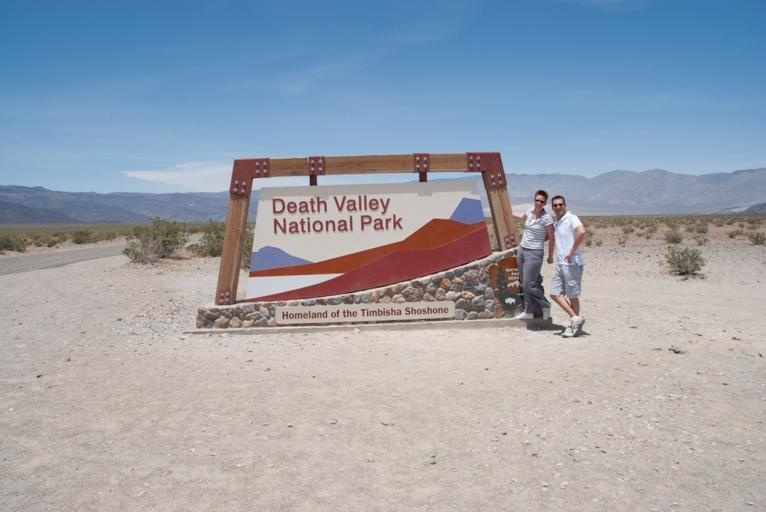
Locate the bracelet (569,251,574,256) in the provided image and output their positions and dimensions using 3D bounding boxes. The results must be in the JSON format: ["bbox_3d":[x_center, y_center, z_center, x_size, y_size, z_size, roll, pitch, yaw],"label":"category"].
[{"bbox_3d":[3.581,-0.040,9.028,0.082,0.092,0.033,-2,13,-2],"label":"bracelet"}]

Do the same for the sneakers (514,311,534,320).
[{"bbox_3d":[3.009,1.263,10.154,0.358,0.150,0.174,3,-3,3],"label":"sneakers"}]
